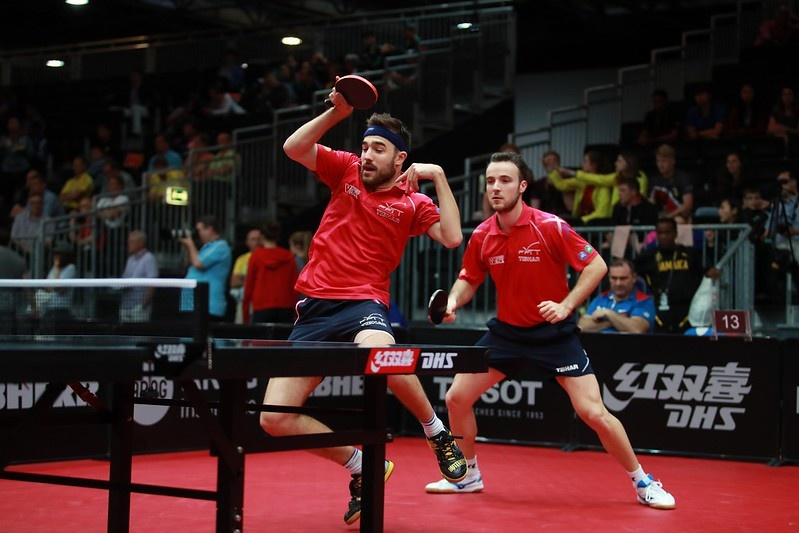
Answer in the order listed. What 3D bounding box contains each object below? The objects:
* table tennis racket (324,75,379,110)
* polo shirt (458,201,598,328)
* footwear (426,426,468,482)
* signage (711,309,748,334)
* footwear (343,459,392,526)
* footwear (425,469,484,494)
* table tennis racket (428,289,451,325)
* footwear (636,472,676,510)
[{"bbox_3d":[-0.359,-1.434,8.581,0.332,0.270,0.255,1,-1,-7],"label":"table tennis racket"},{"bbox_3d":[1.274,0.032,10.418,1.365,1.097,0.550,-7,-10,26],"label":"polo shirt"},{"bbox_3d":[0.444,1.645,9.327,0.213,0.600,0.243,-27,-9,5],"label":"footwear"},{"bbox_3d":[3.593,0.594,11.336,0.388,0.271,0.125,0,-1,16],"label":"signage"},{"bbox_3d":[-0.274,1.903,9.031,0.335,0.814,0.267,15,39,5],"label":"footwear"},{"bbox_3d":[0.535,2.042,10.080,0.540,0.356,0.221,1,-12,2],"label":"footwear"},{"bbox_3d":[0.321,0.311,8.802,0.052,0.240,0.239,7,-29,28],"label":"table tennis racket"},{"bbox_3d":[2.346,2.059,9.748,0.208,0.190,0.398,-4,2,-38],"label":"footwear"}]
